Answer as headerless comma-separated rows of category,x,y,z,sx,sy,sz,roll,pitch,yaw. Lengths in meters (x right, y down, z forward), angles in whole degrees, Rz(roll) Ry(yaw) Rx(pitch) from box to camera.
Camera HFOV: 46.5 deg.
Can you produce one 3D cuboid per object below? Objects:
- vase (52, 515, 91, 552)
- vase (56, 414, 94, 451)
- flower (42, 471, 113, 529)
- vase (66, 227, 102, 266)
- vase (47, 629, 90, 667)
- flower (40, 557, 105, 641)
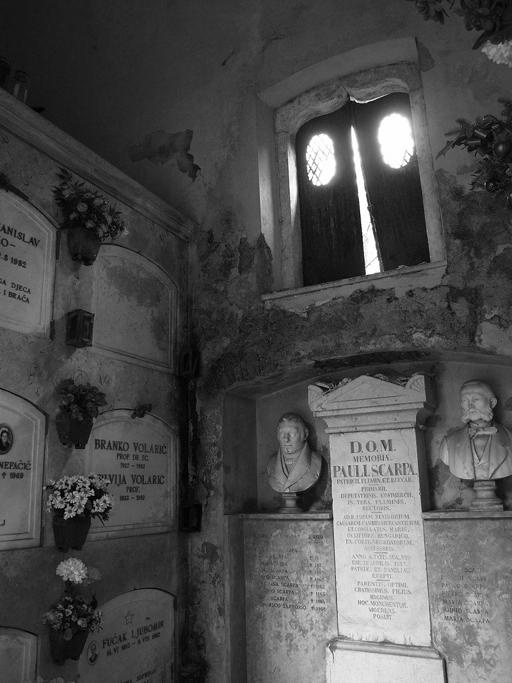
vase,-0.929,0.973,3.018,0.211,0.201,0.162,-21,-33,40
vase,-0.943,0.504,3.238,0.153,0.235,0.192,-14,-19,32
flower,-0.884,0.771,3.034,0.245,0.207,0.250,8,-2,-8
vase,-0.985,-0.547,3.542,0.155,0.229,0.214,-6,-16,27
vase,-0.917,1.493,2.917,0.176,0.187,0.226,4,-17,-21
flower,-0.902,1.275,2.928,0.148,0.361,0.253,-40,-32,22
